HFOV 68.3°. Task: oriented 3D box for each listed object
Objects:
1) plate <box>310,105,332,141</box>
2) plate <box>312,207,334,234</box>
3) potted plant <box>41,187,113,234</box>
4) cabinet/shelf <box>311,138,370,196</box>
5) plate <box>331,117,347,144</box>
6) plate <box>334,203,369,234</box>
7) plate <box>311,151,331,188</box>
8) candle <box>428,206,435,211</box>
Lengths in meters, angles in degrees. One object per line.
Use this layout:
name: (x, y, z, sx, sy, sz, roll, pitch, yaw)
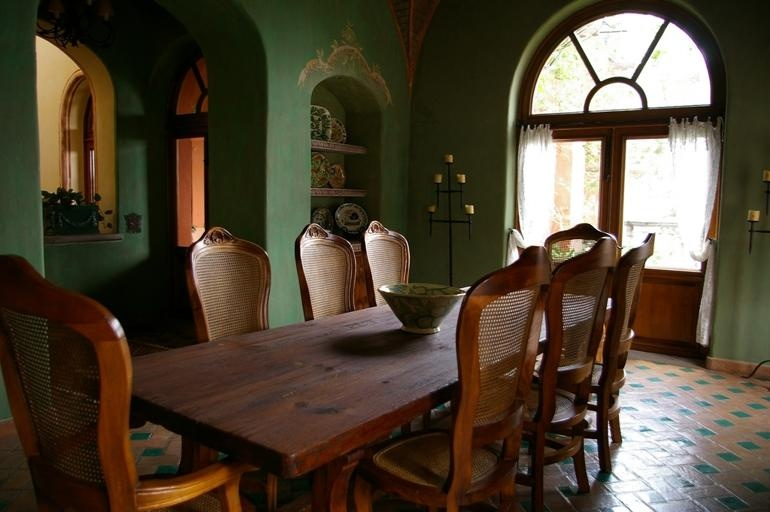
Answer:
plate: (-0.617, -1.268, 5.407, 0.136, 0.321, 0.566, 5, 14, 16)
plate: (-0.628, -0.363, 5.637, 0.052, 0.227, 0.227, 1, -6, 43)
potted plant: (-3.072, -0.435, 5.562, 0.596, 0.429, 0.475, 0, 8, -30)
cabinet/shelf: (-0.555, -0.839, 5.596, 0.344, 0.448, 0.670, 6, 6, 44)
plate: (-0.483, -1.261, 5.706, 0.053, 0.230, 0.228, 7, 4, 40)
plate: (-0.331, -0.427, 5.903, 0.270, 0.068, 0.279, -19, -24, 39)
plate: (-0.662, -0.856, 5.550, 0.069, 0.307, 0.301, 3, 21, 34)
candle: (0.458, -0.469, 5.633, 0.075, 0.073, 0.077, 2, 2, 11)
